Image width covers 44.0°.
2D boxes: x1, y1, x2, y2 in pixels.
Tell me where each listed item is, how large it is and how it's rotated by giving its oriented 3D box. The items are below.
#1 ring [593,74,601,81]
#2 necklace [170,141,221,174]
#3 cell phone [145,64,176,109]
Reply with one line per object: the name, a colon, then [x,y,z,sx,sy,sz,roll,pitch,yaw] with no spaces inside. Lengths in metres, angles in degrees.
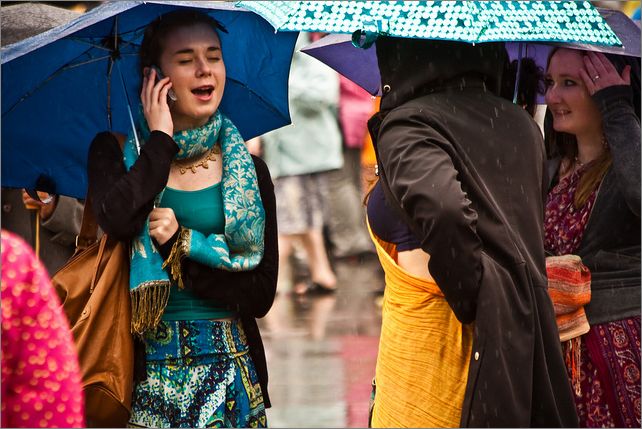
ring: [1.654,-0.814,4.765,0.007,0.029,0.028,22,-15,-33]
necklace: [-0.668,-0.297,4.371,0.170,0.175,0.026,-32,-37,10]
cell phone: [-0.864,-0.687,4.281,0.025,0.106,0.239,-28,32,-12]
